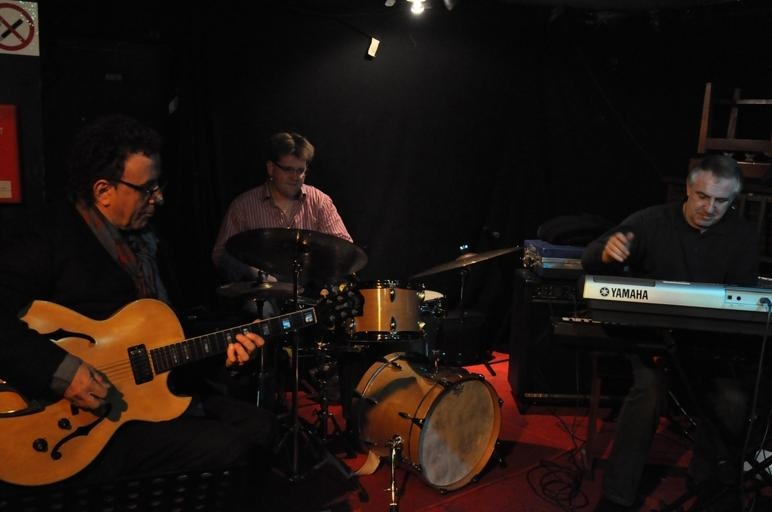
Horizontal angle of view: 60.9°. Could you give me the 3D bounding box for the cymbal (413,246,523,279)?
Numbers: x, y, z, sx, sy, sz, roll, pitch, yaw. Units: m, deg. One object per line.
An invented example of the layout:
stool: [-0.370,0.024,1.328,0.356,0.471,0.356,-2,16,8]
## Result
cymbal: [0.657,0.041,5.228,0.470,0.102,0.455,-15,-12,-3]

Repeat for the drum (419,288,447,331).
drum: [0.370,0.417,5.209,0.204,0.346,0.677,4,3,5]

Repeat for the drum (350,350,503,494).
drum: [0.299,1.175,4.705,0.918,0.885,0.571,0,5,-36]

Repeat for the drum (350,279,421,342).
drum: [0.015,0.393,4.732,0.448,0.270,0.434,-1,-3,0]
